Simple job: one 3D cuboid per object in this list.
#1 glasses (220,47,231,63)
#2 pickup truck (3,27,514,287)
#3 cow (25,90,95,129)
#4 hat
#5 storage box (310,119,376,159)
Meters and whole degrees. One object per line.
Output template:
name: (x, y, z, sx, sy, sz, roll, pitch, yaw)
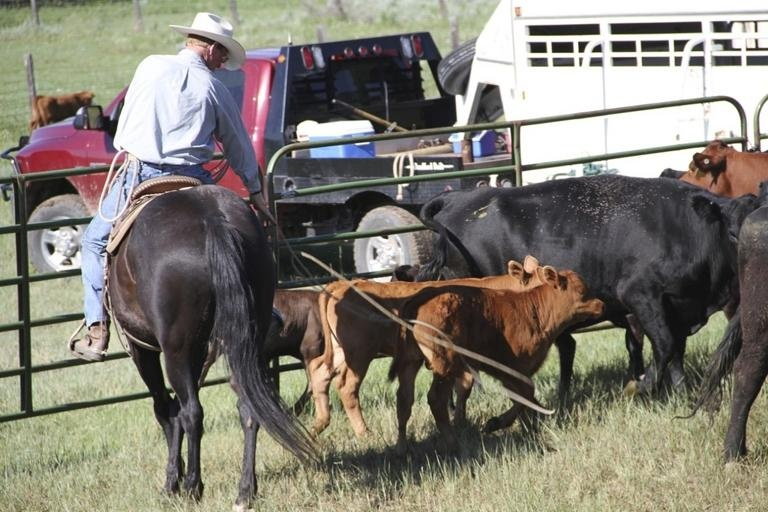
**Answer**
glasses: (-1.590, -1.959, 12.358, 0.088, 0.129, 0.122, 20, 28, 14)
pickup truck: (-1.692, -1.488, 17.163, 5.780, 2.870, 3.518, 2, 5, 22)
cow: (-6.420, -2.856, 25.405, 1.412, 0.861, 0.398, -13, 9, -34)
hat: (-1.765, -1.966, 12.391, 0.749, 0.301, 0.671, 8, -15, 44)
storage box: (-0.566, -1.493, 16.071, 0.572, 0.468, 0.589, -1, 12, 26)
